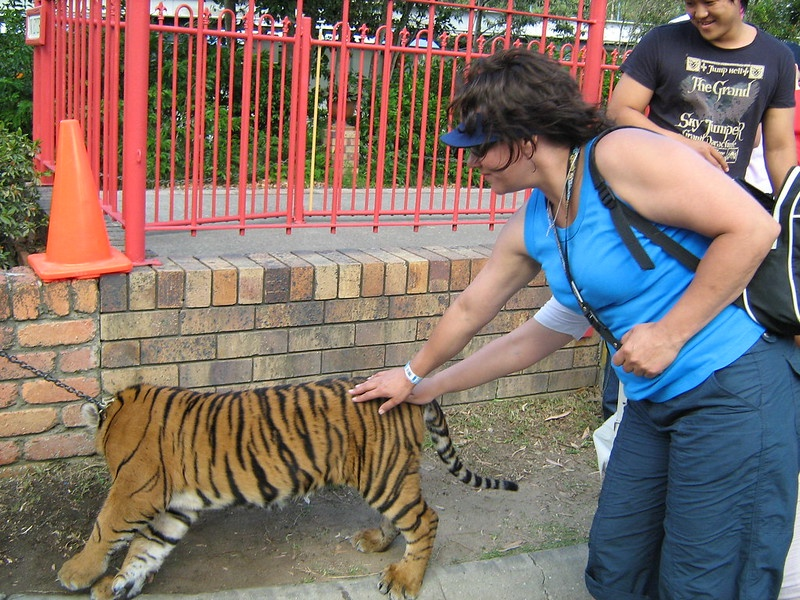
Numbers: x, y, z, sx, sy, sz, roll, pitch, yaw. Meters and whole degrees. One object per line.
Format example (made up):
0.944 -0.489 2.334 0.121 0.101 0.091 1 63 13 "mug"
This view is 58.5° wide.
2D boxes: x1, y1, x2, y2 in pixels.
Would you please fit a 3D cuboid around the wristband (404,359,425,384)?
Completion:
0.076 0.375 3.536 0.076 0.112 0.042 22 53 40 "wristband"

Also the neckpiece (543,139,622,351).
0.729 -0.178 3.067 0.399 0.757 0.121 -17 1 -10 "neckpiece"

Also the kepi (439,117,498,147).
0.286 -0.705 2.931 0.244 0.131 0.163 5 17 -14 "kepi"

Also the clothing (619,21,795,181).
1.690 -1.101 3.907 0.898 1.016 0.559 1 34 5 "clothing"
